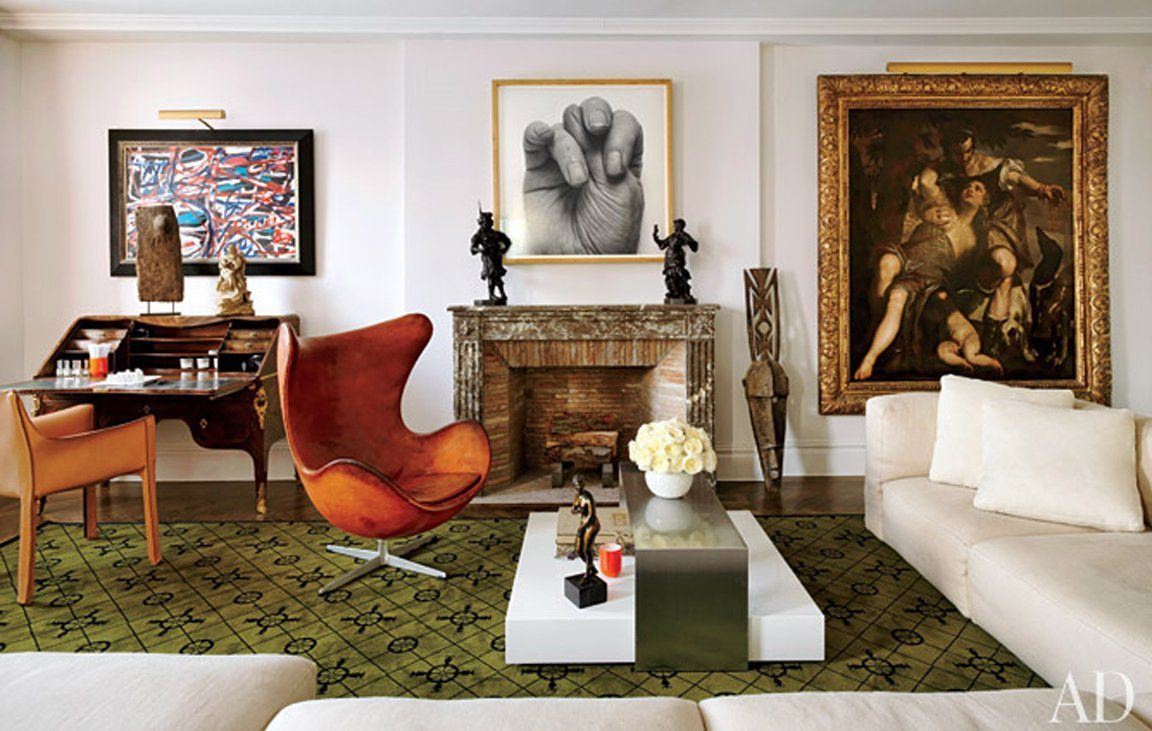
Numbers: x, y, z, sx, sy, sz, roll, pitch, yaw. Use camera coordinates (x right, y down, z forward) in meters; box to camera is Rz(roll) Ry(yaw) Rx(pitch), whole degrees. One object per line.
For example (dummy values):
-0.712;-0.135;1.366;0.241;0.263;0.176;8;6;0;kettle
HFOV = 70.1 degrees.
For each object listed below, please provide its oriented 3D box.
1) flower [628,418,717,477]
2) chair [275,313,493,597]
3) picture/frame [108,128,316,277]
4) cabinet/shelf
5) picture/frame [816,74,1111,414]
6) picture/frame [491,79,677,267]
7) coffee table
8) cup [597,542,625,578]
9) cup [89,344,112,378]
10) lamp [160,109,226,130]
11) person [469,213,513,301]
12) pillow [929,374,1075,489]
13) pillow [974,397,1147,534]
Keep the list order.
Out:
0.562;0.446;4.827;0.386;0.243;0.382;2;2;40;flower
-1.261;0.445;5.841;1.652;1.861;1.778;2;5;26;chair
-2.964;-1.356;6.595;1.355;0.894;0.046;-1;0;-3;picture/frame
-3.034;0.078;6.376;2.232;1.434;1.561;0;3;4;cabinet/shelf
3.031;-1.095;6.587;3.061;3.195;0.149;0;1;-2;picture/frame
0.039;-1.623;6.589;1.682;1.424;0.104;-1;0;0;picture/frame
0.485;1.151;4.636;1.189;0.410;1.212;0;4;1;coffee table
0.197;1.129;4.793;0.129;0.156;0.191;1;2;2;cup
-3.445;-0.038;5.936;0.123;0.225;0.214;-8;13;-23;cup
-3.056;-1.993;6.598;0.506;0.173;0.151;-5;12;-13;lamp
-0.688;-0.858;6.513;0.318;0.754;0.372;-1;12;10;person
2.545;0.429;4.939;0.733;0.598;0.236;3;-1;5;pillow
2.810;0.593;4.700;0.839;0.702;0.247;3;-13;18;pillow
